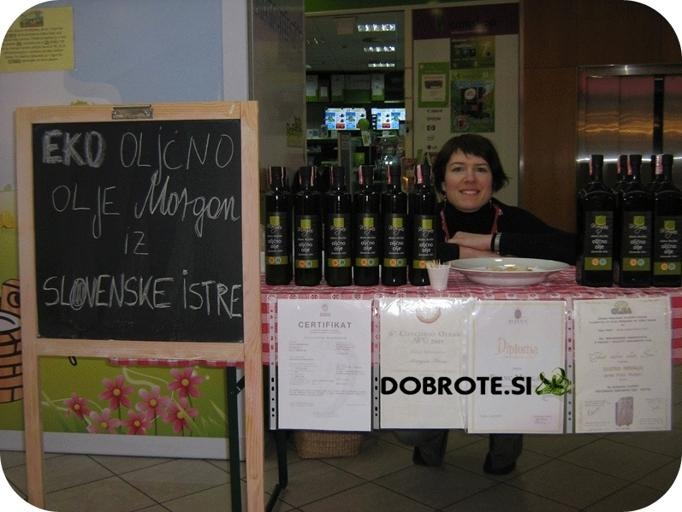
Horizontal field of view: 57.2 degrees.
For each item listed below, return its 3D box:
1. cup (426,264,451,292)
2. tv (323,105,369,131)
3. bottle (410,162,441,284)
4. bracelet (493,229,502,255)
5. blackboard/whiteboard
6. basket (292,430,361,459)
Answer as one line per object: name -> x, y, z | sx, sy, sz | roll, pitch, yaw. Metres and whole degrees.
cup -> 0.400, 0.089, 2.584 | 0.106, 0.104, 0.105 | -1, -1, 0
tv -> 0.042, -1.717, 7.807 | 0.554, 0.289, 0.222 | -1, 12, 1
bottle -> 0.350, -0.132, 2.656 | 0.118, 0.508, 0.118 | -1, 4, 0
bracelet -> 0.821, -0.071, 3.319 | 0.047, 0.106, 0.046 | 1, 12, 14
blackboard/whiteboard -> -0.827, -0.112, 2.638 | 1.115, 1.149, 0.078 | 1, -2, 0
basket -> -0.083, 1.087, 3.635 | 0.388, 0.164, 0.294 | 1, -25, -1
